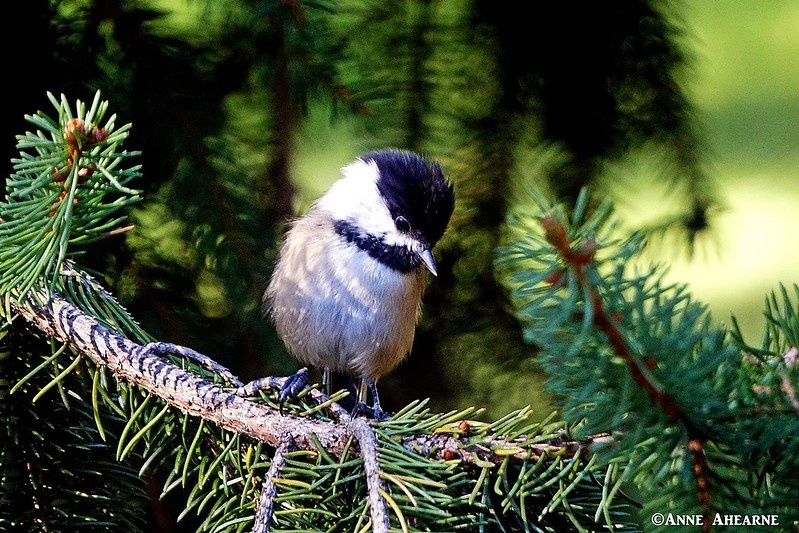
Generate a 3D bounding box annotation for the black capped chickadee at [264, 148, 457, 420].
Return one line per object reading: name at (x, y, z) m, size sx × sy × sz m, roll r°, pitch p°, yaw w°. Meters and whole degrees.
black capped chickadee at (-0.203, 0.008, 4.770) m, size 0.762 × 1.365 × 1.184 m, roll 17°, pitch 12°, yaw -24°
